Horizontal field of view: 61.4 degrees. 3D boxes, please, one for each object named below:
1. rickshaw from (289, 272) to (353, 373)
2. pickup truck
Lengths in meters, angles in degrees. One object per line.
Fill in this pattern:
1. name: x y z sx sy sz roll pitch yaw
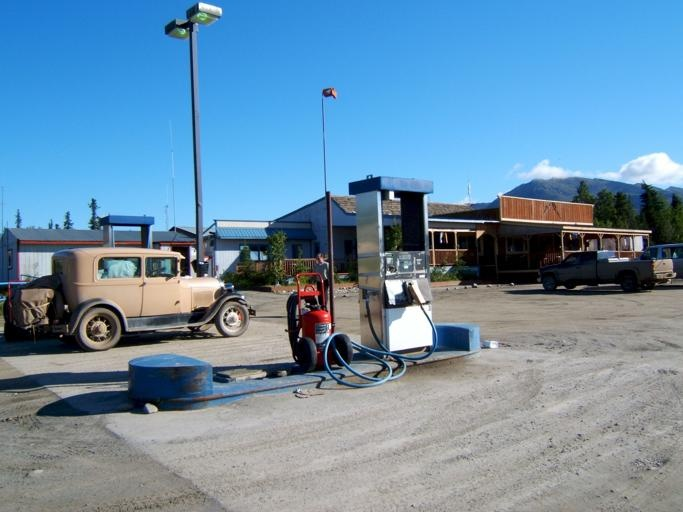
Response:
1. rickshaw: -0.349 1.050 8.921 0.797 1.576 0.902 0 4 -21
2. pickup truck: 10.185 0.626 22.455 4.551 1.709 1.680 -1 -1 40
